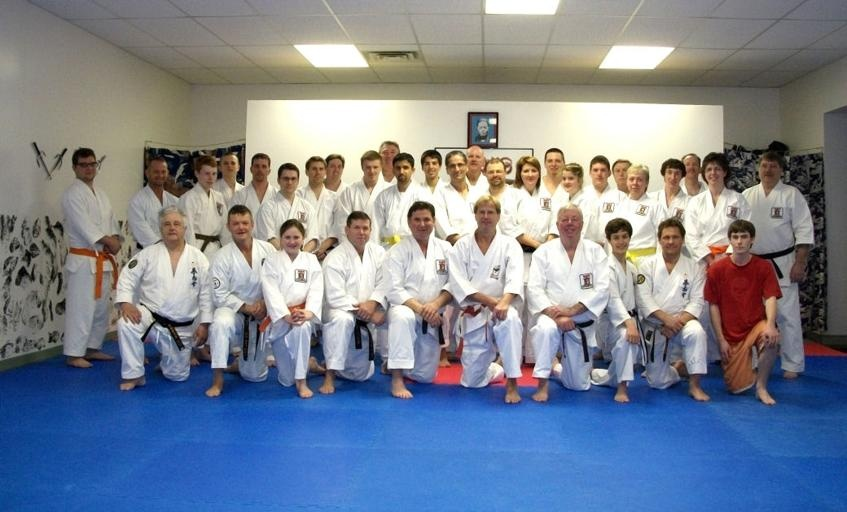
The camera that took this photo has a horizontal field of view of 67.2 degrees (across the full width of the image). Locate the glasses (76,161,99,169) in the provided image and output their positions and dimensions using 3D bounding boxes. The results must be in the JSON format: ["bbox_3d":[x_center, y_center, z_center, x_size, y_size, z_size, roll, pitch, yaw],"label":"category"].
[{"bbox_3d":[-4.124,-1.116,7.778,0.181,0.077,0.061,-2,6,-26],"label":"glasses"}]
